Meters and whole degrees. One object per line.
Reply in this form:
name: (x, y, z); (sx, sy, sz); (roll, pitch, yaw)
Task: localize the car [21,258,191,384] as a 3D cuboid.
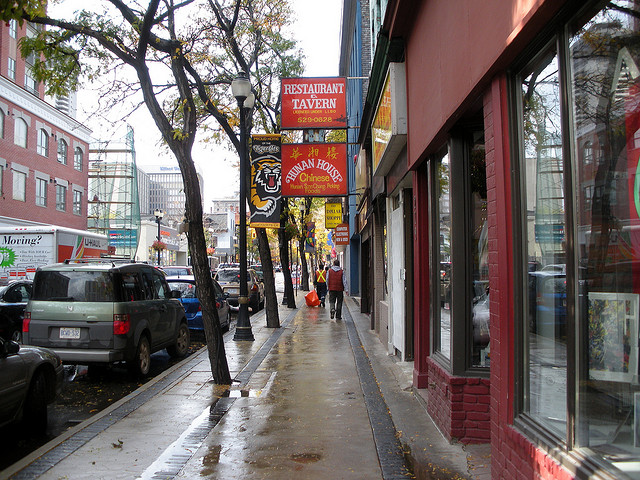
car: (-3.884, 1.360, 10.927); (1.588, 1.940, 3.275); (0, -1, 9)

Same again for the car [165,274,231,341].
car: (-3.557, 2.006, 15.745); (1.442, 1.612, 2.885); (-3, 2, 5)

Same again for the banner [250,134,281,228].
banner: (-1.516, -1.613, 15.470); (0.836, 2.516, 0.480); (0, 1, -13)

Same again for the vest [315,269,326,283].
vest: (0.049, 1.568, 26.030); (0.371, 0.518, 0.556); (-1, -43, 3)

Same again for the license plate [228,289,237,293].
license plate: (-3.563, 2.091, 22.758); (0.374, 0.122, 0.111); (0, 0, 3)

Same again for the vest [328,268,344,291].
vest: (0.567, 1.435, 19.868); (0.654, 1.158, 0.568); (1, -2, 4)
